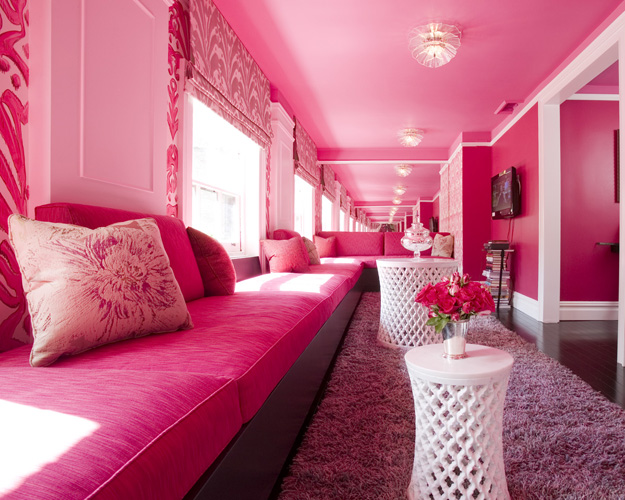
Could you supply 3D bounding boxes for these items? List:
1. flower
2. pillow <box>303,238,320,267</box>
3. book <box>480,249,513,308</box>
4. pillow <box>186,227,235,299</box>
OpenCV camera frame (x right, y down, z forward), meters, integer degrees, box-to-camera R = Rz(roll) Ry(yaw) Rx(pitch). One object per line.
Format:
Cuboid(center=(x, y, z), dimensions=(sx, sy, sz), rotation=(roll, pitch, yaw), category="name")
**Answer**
Cuboid(center=(0.555, 0.207, 1.715), dimensions=(0.274, 0.231, 0.157), rotation=(-4, 1, -4), category="flower")
Cuboid(center=(-0.013, 0.013, 4.759), dimensions=(0.075, 0.256, 0.264), rotation=(-16, -12, 13), category="pillow")
Cuboid(center=(1.913, 0.280, 4.466), dimensions=(0.318, 0.646, 0.632), rotation=(0, 0, 16), category="book")
Cuboid(center=(-0.557, 0.067, 2.503), dimensions=(0.134, 0.345, 0.330), rotation=(-21, -2, 10), category="pillow")
